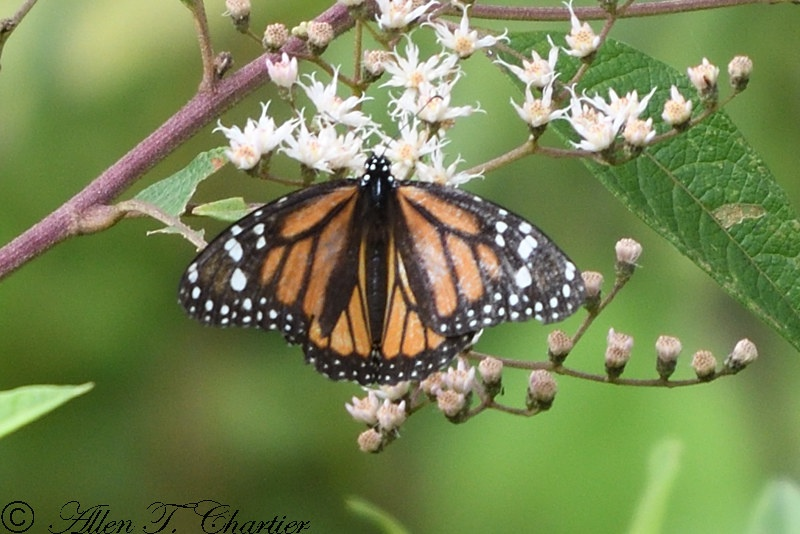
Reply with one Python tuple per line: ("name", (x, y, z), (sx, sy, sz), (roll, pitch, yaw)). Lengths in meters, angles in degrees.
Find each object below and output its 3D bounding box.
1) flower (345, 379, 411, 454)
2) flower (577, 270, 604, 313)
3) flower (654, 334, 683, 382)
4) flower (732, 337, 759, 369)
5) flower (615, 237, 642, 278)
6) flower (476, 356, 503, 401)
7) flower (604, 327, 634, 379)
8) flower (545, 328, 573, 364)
("flower", (-0.070, 0.411, 2.284), (0.141, 0.194, 0.214), (2, -6, -34))
("flower", (0.537, 0.075, 2.366), (0.057, 0.108, 0.060), (-12, 9, -38))
("flower", (0.730, 0.260, 2.344), (0.073, 0.135, 0.090), (0, -2, 11))
("flower", (0.991, 0.252, 2.448), (0.069, 0.080, 0.169), (-4, -6, 24))
("flower", (0.618, -0.025, 2.317), (0.071, 0.128, 0.083), (6, -28, 8))
("flower", (0.237, 0.295, 2.237), (0.064, 0.106, 0.071), (-4, 15, 0))
("flower", (0.592, 0.241, 2.310), (0.070, 0.144, 0.101), (11, 17, 17))
("flower", (0.418, 0.210, 2.230), (0.074, 0.099, 0.079), (0, -3, -1))
